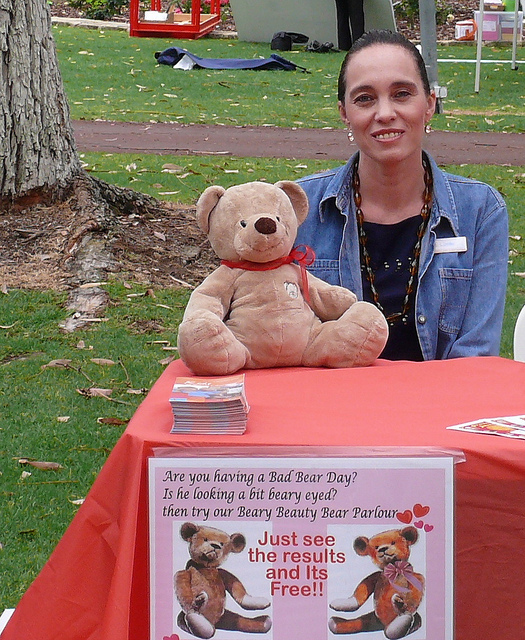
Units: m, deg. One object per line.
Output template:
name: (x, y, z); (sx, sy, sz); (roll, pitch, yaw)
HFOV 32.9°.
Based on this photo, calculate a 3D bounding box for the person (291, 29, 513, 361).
person: (0.383, -0.320, 2.866); (0.908, 1.003, 0.761); (3, 25, 15)

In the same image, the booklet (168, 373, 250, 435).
booklet: (-0.112, 0.153, 1.847); (0.156, 0.081, 0.271); (-4, 19, -1)

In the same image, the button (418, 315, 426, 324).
button: (0.504, -0.001, 2.815); (0.025, 0.029, 0.008); (-4, 23, 0)

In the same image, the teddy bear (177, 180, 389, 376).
teddy bear: (0.012, -0.110, 2.314); (0.564, 0.454, 0.419); (-5, 12, -17)
